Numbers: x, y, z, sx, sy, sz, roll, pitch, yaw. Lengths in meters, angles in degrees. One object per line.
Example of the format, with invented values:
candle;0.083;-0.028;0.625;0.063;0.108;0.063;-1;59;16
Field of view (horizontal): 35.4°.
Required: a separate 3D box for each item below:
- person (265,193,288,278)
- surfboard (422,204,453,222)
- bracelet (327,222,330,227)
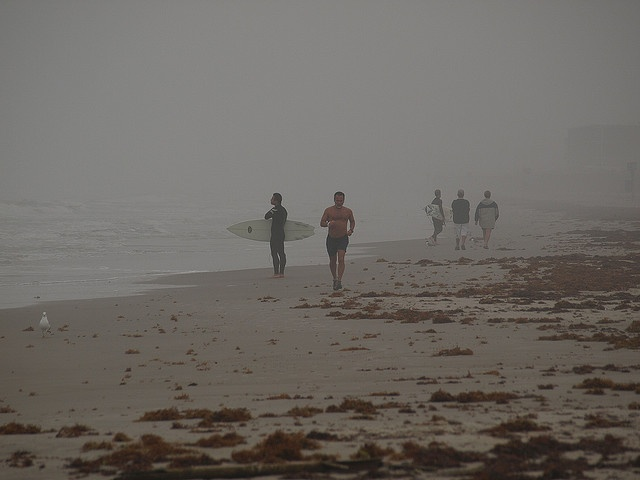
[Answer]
person;-1.249;-0.090;27.386;0.552;2.452;1.147;-2;15;-3
surfboard;3.956;-0.915;34.037;0.841;0.358;0.949;24;5;43
bracelet;0.146;-0.384;24.442;0.083;0.116;0.036;6;4;26
